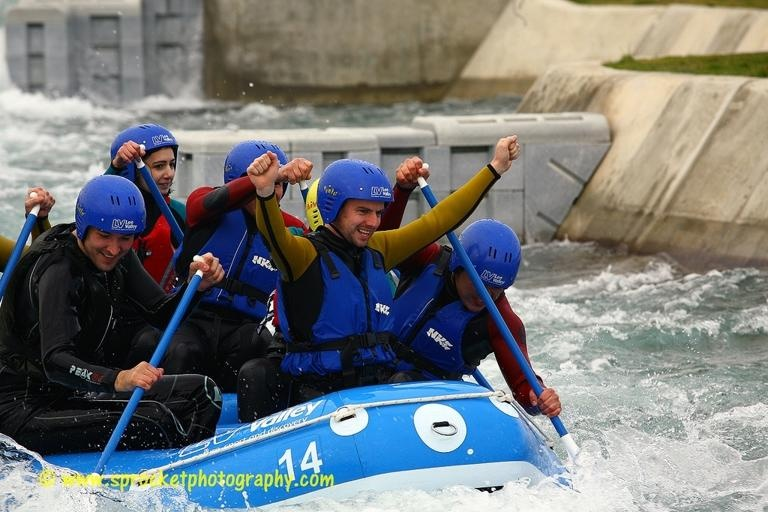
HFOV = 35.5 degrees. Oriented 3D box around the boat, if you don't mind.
[{"bbox_3d":[-0.713,1.756,10.656,3.495,0.627,1.856,-2,-7,-1],"label":"boat"}]
